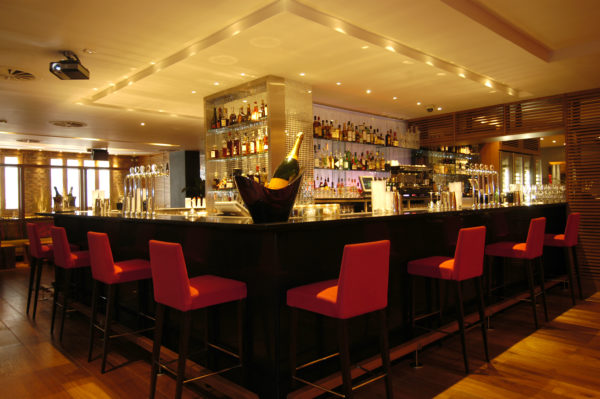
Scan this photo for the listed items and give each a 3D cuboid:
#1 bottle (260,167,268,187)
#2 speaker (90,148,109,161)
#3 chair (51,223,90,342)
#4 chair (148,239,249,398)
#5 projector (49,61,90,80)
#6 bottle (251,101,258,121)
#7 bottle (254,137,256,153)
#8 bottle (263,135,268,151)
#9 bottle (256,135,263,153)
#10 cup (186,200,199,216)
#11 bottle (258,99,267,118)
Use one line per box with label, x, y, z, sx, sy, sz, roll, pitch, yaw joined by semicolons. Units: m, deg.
bottle;-0.557;-0.364;6.983;0.105;0.267;0.416;-3;4;-8
speaker;-5.881;-1.315;12.968;0.421;0.343;0.463;-4;5;-28
chair;-2.933;0.991;5.810;0.564;1.163;0.461;5;-5;-32
chair;-1.044;1.206;4.445;0.975;1.648;0.678;-4;5;-15
projector;-3.226;-1.799;6.195;0.510;0.241;0.514;-2;4;-3
bottle;-0.718;-1.411;7.100;0.125;0.321;0.247;-3;4;-7
bottle;-0.718;-0.866;7.146;0.057;0.229;0.125;-3;5;-4
bottle;-0.532;-0.877;6.900;0.059;0.226;0.325;-3;4;-11
bottle;-0.643;-0.862;7.068;0.090;0.259;0.172;-6;6;-35
cup;-1.895;0.149;7.762;0.198;0.276;0.181;3;13;-1
bottle;-0.580;-1.424;6.991;0.066;0.289;0.204;-4;5;-23
